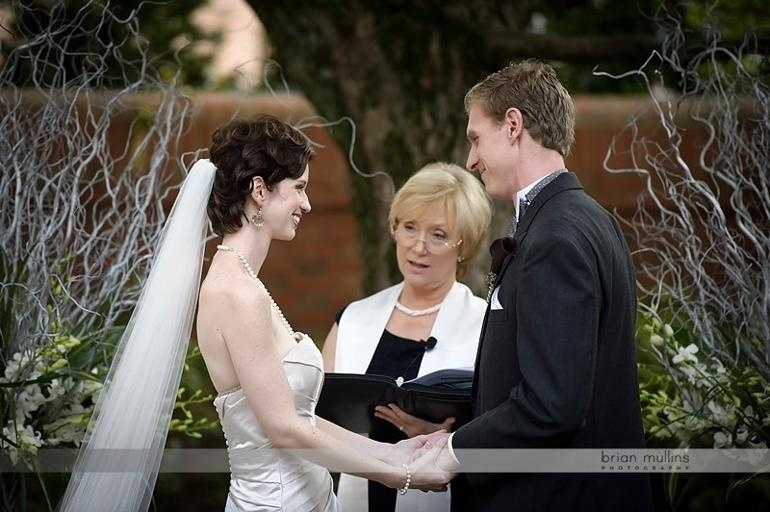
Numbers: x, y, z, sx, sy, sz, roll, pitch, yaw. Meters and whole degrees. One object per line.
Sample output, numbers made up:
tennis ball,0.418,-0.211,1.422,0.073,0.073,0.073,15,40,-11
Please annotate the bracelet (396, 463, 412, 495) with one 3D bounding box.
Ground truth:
bracelet,0.123,1.210,5.115,0.035,0.135,0.100,8,7,-37

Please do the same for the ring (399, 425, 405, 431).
ring,0.104,0.970,5.369,0.025,0.034,0.032,10,-4,24
